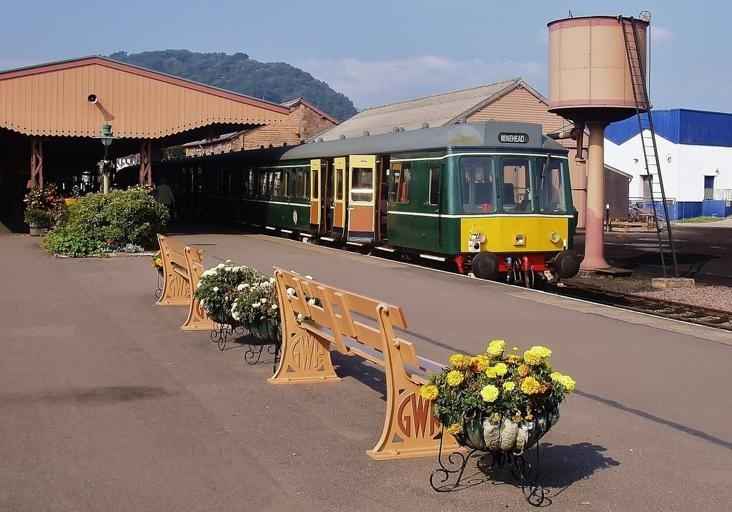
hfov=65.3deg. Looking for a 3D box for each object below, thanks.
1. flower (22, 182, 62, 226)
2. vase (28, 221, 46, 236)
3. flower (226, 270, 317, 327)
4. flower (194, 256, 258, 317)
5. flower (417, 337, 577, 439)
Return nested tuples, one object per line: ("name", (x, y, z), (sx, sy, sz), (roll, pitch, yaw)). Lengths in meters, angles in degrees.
("flower", (-14.351, -2.143, 25.852), (1.925, 1.907, 1.029), (2, 5, 22))
("vase", (-14.844, -1.197, 26.155), (0.614, 0.545, 0.648), (0, -2, -22))
("flower", (-1.400, 0.602, 7.707), (0.835, 0.547, 0.920), (3, 17, 6))
("flower", (-2.007, 0.431, 8.730), (0.735, 0.847, 0.870), (9, 28, 39))
("flower", (1.199, 1.137, 4.735), (1.013, 0.676, 1.022), (5, -6, -1))
